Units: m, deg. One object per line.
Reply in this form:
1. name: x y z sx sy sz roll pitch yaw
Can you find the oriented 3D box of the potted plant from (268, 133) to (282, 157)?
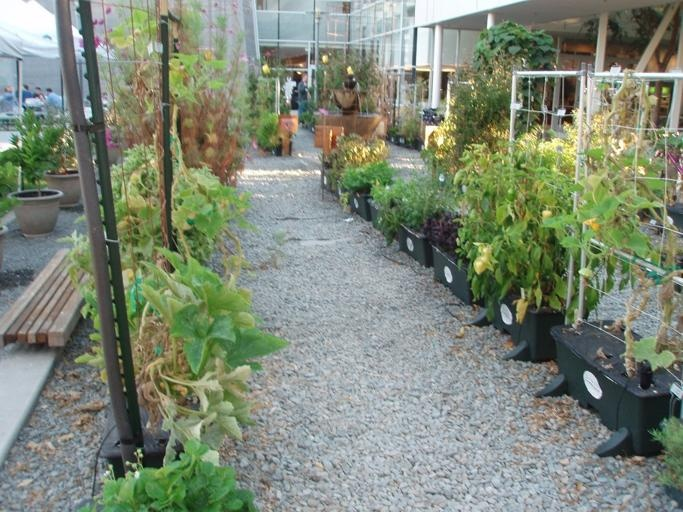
1. potted plant: -1.559 -2.622 11.837 0.193 0.483 0.465 -12 22 -34
